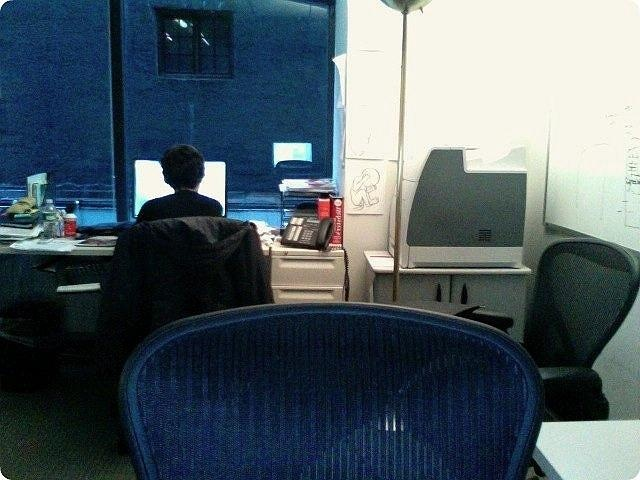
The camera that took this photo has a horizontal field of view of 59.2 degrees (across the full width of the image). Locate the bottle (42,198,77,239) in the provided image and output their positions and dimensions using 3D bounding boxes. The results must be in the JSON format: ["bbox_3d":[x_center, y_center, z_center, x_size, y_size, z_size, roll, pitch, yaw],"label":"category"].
[{"bbox_3d":[-1.510,-0.111,3.364,0.276,0.283,0.174,1,-1,-35],"label":"bottle"}]

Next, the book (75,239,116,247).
[{"bbox_3d":[-1.204,0.014,3.041,0.186,0.009,0.206,-2,13,-13],"label":"book"}]

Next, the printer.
[{"bbox_3d":[0.761,-0.200,3.200,0.609,0.653,0.644,0,4,3],"label":"printer"}]

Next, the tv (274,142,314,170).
[{"bbox_3d":[-0.198,-0.638,4.193,0.303,0.207,0.168,1,13,1],"label":"tv"}]
